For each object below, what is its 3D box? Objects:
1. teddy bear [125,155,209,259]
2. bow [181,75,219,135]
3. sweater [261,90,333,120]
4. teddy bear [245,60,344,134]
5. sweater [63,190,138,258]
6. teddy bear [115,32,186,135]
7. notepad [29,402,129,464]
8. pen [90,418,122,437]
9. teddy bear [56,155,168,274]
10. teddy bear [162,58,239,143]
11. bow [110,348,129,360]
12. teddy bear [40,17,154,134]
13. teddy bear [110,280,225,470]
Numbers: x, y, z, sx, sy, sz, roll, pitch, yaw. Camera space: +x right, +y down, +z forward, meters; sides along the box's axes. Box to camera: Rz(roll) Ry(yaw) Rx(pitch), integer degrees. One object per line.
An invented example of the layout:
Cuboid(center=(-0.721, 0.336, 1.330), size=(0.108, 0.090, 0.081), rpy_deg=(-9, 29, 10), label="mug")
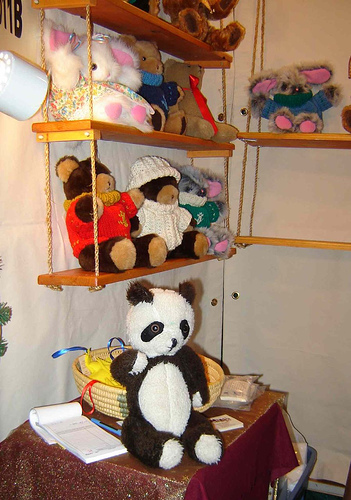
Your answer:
Cuboid(center=(-0.021, -0.104, 1.056), size=(0.234, 0.255, 0.218), rpy_deg=(-3, 17, -24), label="teddy bear")
Cuboid(center=(0.075, -0.450, 1.311), size=(0.116, 0.178, 0.109), rpy_deg=(7, 19, 21), label="bow")
Cuboid(center=(0.373, -0.445, 1.272), size=(0.197, 0.082, 0.179), rpy_deg=(3, 13, 21), label="sweater")
Cuboid(center=(0.358, -0.473, 1.308), size=(0.296, 0.231, 0.123), rpy_deg=(10, 7, 32), label="teddy bear")
Cuboid(center=(-0.157, -0.081, 0.915), size=(0.167, 0.140, 0.166), rpy_deg=(16, 21, 40), label="sweater")
Cuboid(center=(-0.050, -0.417, 1.079), size=(0.190, 0.266, 0.187), rpy_deg=(-6, 26, -13), label="teddy bear")
Cuboid(center=(-0.174, 0.325, 0.752), size=(0.161, 0.040, 0.109), rpy_deg=(10, -3, 37), label="notepad")
Cuboid(center=(-0.130, 0.334, 0.781), size=(0.067, 0.011, 0.008), rpy_deg=(22, -8, 29), label="pen")
Cuboid(center=(-0.144, -0.083, 0.898), size=(0.199, 0.252, 0.198), rpy_deg=(-5, 6, 17), label="teddy bear")
Cuboid(center=(0.142, -0.439, 1.266), size=(0.285, 0.313, 0.217), rpy_deg=(6, 18, 17), label="teddy bear")
Cuboid(center=(-0.140, 0.226, 0.981), size=(0.059, 0.013, 0.060), rpy_deg=(3, -3, -33), label="bow")
Cuboid(center=(-0.150, -0.343, 0.833), size=(0.202, 0.211, 0.179), rpy_deg=(-9, 9, -34), label="teddy bear")
Cuboid(center=(-0.030, 0.224, 0.753), size=(0.217, 0.311, 0.251), rpy_deg=(-2, 16, -21), label="teddy bear")
